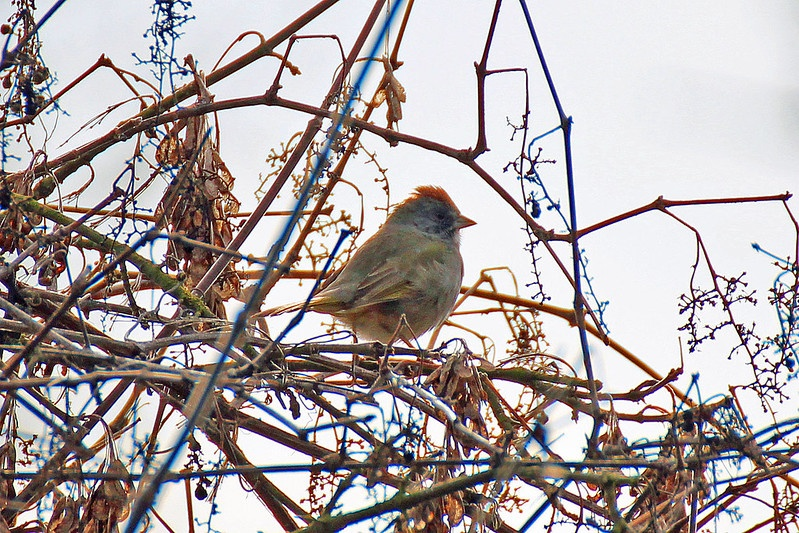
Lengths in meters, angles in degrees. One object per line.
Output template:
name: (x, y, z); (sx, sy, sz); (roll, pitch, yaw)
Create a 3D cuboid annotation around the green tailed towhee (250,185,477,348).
green tailed towhee: (-0.195, 0.042, 9.025); (1.596, 1.027, 0.616); (0, -7, -41)
